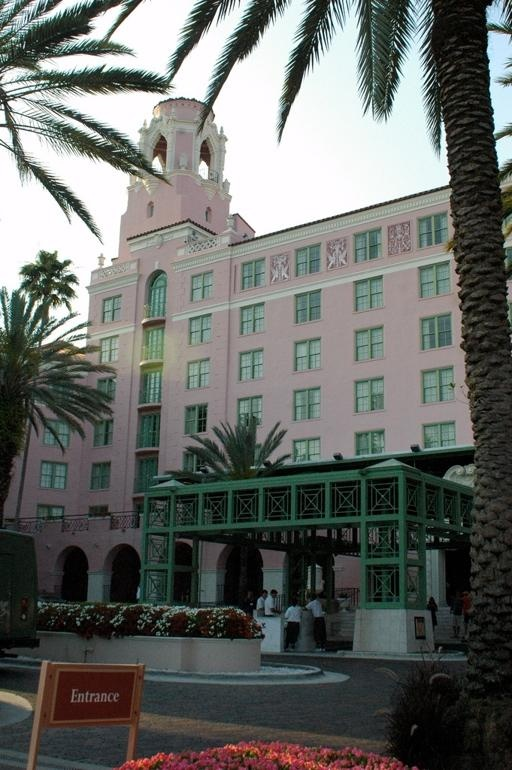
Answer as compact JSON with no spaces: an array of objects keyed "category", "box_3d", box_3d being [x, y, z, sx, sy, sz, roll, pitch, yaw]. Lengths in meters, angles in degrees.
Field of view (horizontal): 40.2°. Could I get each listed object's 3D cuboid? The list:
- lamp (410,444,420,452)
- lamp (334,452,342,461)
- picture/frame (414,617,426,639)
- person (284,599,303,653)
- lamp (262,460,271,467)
[{"category":"lamp","box_3d":[6.558,2.511,28.844,0.157,0.347,0.677,10,-14,19]},{"category":"lamp","box_3d":[3.362,2.920,28.875,0.136,0.308,0.573,-3,-11,19]},{"category":"picture/frame","box_3d":[5.402,8.064,23.215,0.072,0.793,1.176,-7,-17,27]},{"category":"person","box_3d":[1.225,8.123,23.778,0.572,1.628,0.913,0,-15,2]},{"category":"lamp","box_3d":[0.465,3.641,31.860,0.262,0.347,0.574,3,-15,-9]}]
